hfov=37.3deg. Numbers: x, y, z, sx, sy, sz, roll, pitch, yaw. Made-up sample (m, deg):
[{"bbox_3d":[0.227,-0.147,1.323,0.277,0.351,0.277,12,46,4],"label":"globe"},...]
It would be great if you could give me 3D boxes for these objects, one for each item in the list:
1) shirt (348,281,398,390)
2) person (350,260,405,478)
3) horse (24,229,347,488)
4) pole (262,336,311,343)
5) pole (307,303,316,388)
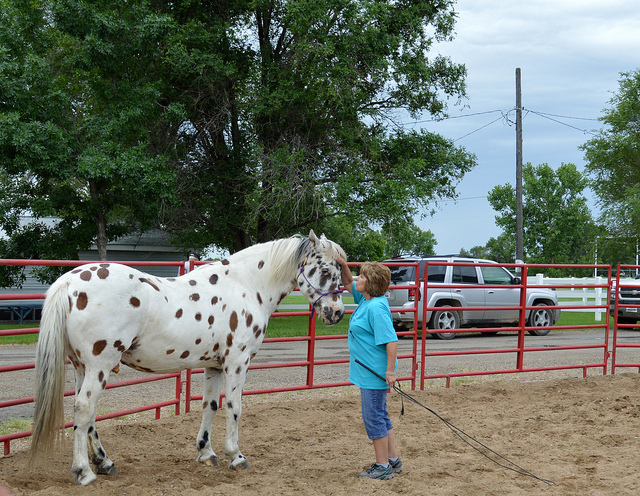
[{"bbox_3d":[0.817,1.393,14.838,0.802,1.436,0.773,12,5,-6],"label":"shirt"},{"bbox_3d":[0.847,1.907,14.849,0.785,3.340,0.419,0,1,2],"label":"person"},{"bbox_3d":[-1.384,1.608,17.833,8.298,6.179,2.277,0,-1,-25],"label":"horse"},{"bbox_3d":[-0.679,1.774,18.344,0.962,0.109,0.111,-4,-41,-11],"label":"pole"},{"bbox_3d":[-0.187,1.909,17.185,0.139,1.324,0.154,-6,20,-25],"label":"pole"}]
